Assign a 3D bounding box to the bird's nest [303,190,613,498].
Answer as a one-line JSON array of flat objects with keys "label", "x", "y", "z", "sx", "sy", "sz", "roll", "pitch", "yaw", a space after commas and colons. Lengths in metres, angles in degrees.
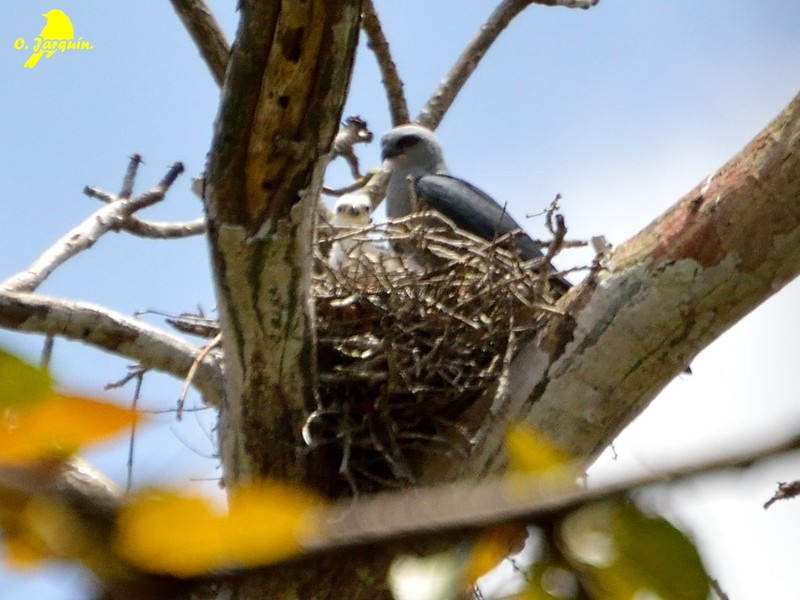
[{"label": "bird's nest", "x": 0.117, "y": 0.261, "z": 6.119, "sx": 0.883, "sy": 0.701, "sz": 1.033, "roll": 5, "pitch": 30, "yaw": -14}]
